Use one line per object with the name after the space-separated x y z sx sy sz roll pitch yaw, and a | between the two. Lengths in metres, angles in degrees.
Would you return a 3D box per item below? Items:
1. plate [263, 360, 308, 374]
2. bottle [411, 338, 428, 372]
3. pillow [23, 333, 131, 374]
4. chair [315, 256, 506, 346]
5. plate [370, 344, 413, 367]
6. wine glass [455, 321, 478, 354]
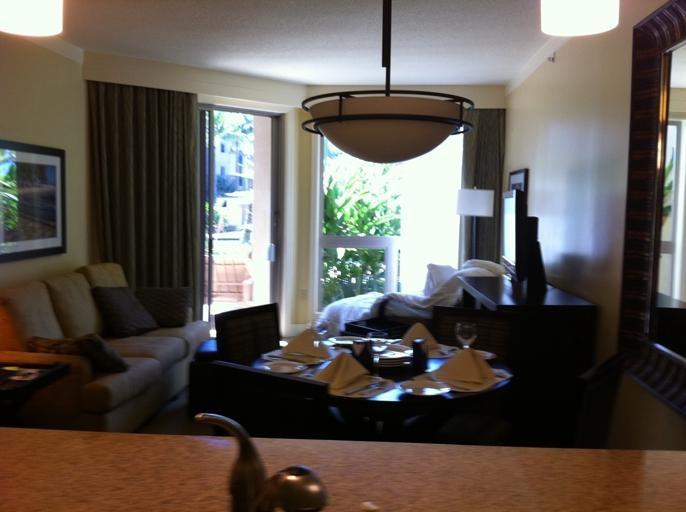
-0.266 0.521 2.530 0.190 0.019 0.172 -1 7 -16 | plate
0.365 0.465 2.581 0.068 0.135 0.180 2 7 10 | bottle
-1.764 0.644 3.546 0.631 0.293 0.179 0 7 -4 | pillow
0.620 0.402 5.160 1.243 0.499 0.941 0 0 9 | chair
0.251 0.479 2.740 0.184 0.072 0.389 2 7 7 | plate
0.576 0.381 2.559 0.080 0.133 0.215 3 7 19 | wine glass
